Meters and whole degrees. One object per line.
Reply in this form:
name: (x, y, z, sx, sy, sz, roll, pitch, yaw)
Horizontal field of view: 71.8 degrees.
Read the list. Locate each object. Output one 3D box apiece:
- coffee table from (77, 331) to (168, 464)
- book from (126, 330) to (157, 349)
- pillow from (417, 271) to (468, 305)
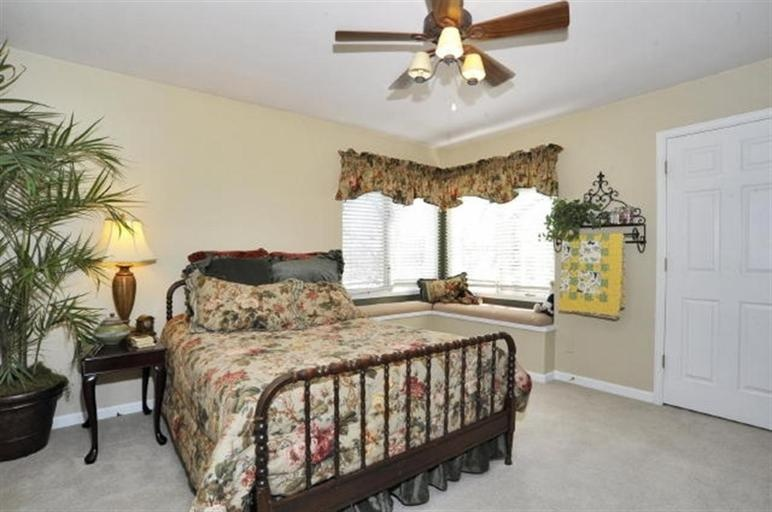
coffee table: (-2.385, 1.236, 4.885, 0.663, 1.003, 0.802, -1, 2, -27)
book: (-2.159, 0.737, 4.726, 0.169, 0.049, 0.213, -1, 9, -30)
pillow: (0.740, 0.443, 7.011, 0.498, 0.427, 0.179, -4, -25, 14)
